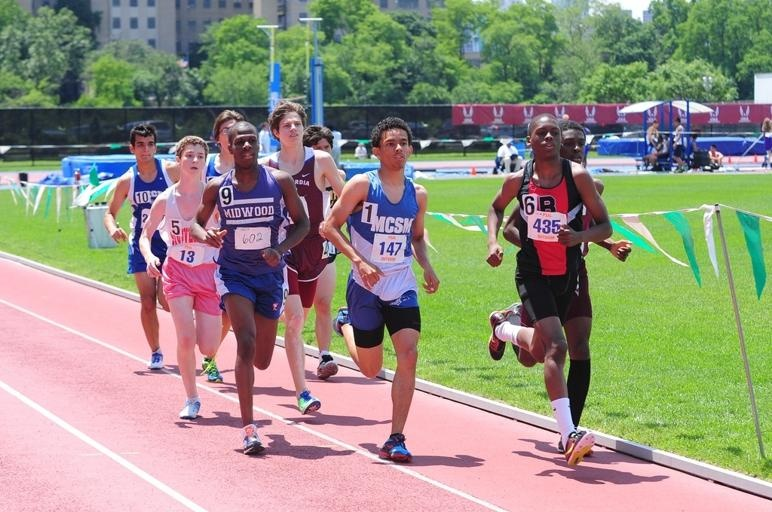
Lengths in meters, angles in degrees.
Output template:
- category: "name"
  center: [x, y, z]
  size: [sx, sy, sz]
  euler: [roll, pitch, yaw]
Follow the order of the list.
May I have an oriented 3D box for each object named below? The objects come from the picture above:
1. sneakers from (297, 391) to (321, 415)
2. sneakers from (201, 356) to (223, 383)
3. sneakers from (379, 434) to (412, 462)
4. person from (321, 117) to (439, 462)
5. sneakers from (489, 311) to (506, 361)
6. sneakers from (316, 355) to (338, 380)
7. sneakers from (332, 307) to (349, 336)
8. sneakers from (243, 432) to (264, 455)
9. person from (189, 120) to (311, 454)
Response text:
- category: "sneakers"
  center: [-0.741, 1.409, 8.333]
  size: [0.141, 0.156, 0.307]
  euler: [-38, 7, -15]
- category: "sneakers"
  center: [-1.928, 1.254, 9.619]
  size: [0.167, 0.166, 0.392]
  euler: [0, 5, -31]
- category: "sneakers"
  center: [0.070, 1.638, 7.407]
  size: [0.146, 0.182, 0.386]
  euler: [17, -13, -23]
- category: "person"
  center: [-0.048, 0.247, 7.705]
  size: [0.988, 2.908, 1.242]
  euler: [-1, 8, -6]
- category: "sneakers"
  center: [1.099, 0.815, 8.722]
  size: [0.184, 0.510, 0.207]
  euler: [3, 16, 8]
- category: "sneakers"
  center: [-0.639, 1.197, 9.422]
  size: [0.149, 0.321, 0.155]
  euler: [13, 45, -18]
- category: "sneakers"
  center: [-0.493, 0.723, 9.540]
  size: [0.150, 0.184, 0.412]
  euler: [17, 33, -16]
- category: "sneakers"
  center: [-1.119, 1.611, 7.363]
  size: [0.120, 0.121, 0.272]
  euler: [1, -10, -16]
- category: "person"
  center: [-1.078, 0.242, 7.630]
  size: [0.869, 2.773, 0.860]
  euler: [-4, 9, -23]
